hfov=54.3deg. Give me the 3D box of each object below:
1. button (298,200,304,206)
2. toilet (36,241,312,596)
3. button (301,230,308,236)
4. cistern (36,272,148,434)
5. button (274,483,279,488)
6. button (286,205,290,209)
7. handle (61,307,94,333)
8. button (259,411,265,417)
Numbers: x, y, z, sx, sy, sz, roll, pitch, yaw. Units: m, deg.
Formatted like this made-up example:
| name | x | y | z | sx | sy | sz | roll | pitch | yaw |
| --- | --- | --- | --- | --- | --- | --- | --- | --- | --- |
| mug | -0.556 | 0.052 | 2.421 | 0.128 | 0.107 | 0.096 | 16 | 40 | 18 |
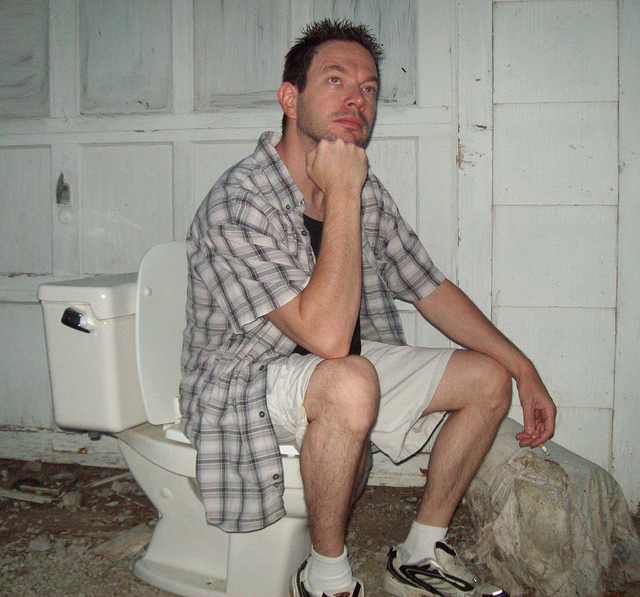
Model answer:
| name | x | y | z | sx | sy | sz | roll | pitch | yaw |
| --- | --- | --- | --- | --- | --- | --- | --- | --- | --- |
| button | -0.056 | -0.287 | 1.901 | 0.017 | 0.017 | 0.008 | 19 | 14 | -12 |
| toilet | -0.238 | 0.363 | 2.351 | 1.098 | 1.270 | 0.734 | 0 | 7 | 9 |
| button | -0.047 | -0.197 | 1.900 | 0.016 | 0.017 | 0.004 | 4 | -3 | -13 |
| cistern | -0.696 | 0.159 | 2.106 | 0.241 | 0.431 | 0.442 | 8 | 11 | 13 |
| button | -0.120 | 0.514 | 1.718 | 0.010 | 0.011 | 0.002 | 18 | -19 | -7 |
| button | -0.097 | -0.274 | 1.889 | 0.012 | 0.013 | 0.003 | 0 | 2 | -12 |
| handle | -0.733 | 0.065 | 1.893 | 0.093 | 0.058 | 0.035 | 21 | 18 | 7 |
| button | -0.162 | 0.326 | 1.756 | 0.014 | 0.014 | 0.008 | -1 | 14 | -5 |
